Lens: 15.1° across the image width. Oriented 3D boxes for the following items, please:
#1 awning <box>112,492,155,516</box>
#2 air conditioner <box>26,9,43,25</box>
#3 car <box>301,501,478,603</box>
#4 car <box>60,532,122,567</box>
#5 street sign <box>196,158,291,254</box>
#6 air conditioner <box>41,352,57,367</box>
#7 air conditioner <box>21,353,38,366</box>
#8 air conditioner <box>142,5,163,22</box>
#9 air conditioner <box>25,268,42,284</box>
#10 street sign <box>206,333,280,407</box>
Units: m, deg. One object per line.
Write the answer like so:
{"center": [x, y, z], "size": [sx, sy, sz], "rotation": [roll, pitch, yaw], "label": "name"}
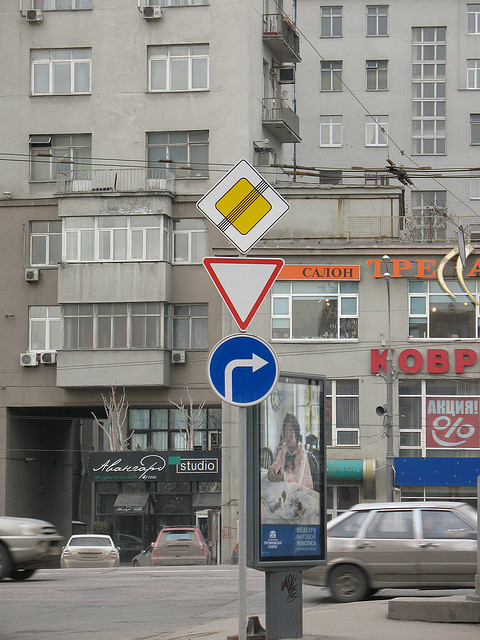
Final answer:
{"center": [-3.659, 6.409, 61.634], "size": [1.217, 0.789, 0.984], "rotation": [0, -7, -5], "label": "awning"}
{"center": [-7.085, -10.296, 62.469], "size": [0.561, 0.542, 0.465], "rotation": [1, -6, -9], "label": "air conditioner"}
{"center": [2.871, 4.340, 32.846], "size": [2.616, 1.334, 1.730], "rotation": [-5, -4, 4], "label": "car"}
{"center": [-3.882, 6.118, 46.984], "size": [1.472, 0.795, 1.068], "rotation": [1, -7, -11], "label": "car"}
{"center": [0.046, -1.558, 26.096], "size": [1.224, 1.401, 0.289], "rotation": [0, -5, -3], "label": "street sign"}
{"center": [-6.335, 1.423, 59.982], "size": [0.495, 0.547, 0.314], "rotation": [0, -3, 0], "label": "air conditioner"}
{"center": [-6.999, 1.495, 60.218], "size": [0.518, 0.490, 0.339], "rotation": [0, -7, 3], "label": "air conditioner"}
{"center": [-2.979, -10.251, 61.627], "size": [0.670, 0.548, 0.495], "rotation": [0, -6, 0], "label": "air conditioner"}
{"center": [-6.928, -1.308, 60.873], "size": [0.553, 0.690, 0.352], "rotation": [1, -18, -4], "label": "air conditioner"}
{"center": [0.020, 0.776, 25.725], "size": [1.034, 0.083, 1.320], "rotation": [-1, -53, 0], "label": "street sign"}
